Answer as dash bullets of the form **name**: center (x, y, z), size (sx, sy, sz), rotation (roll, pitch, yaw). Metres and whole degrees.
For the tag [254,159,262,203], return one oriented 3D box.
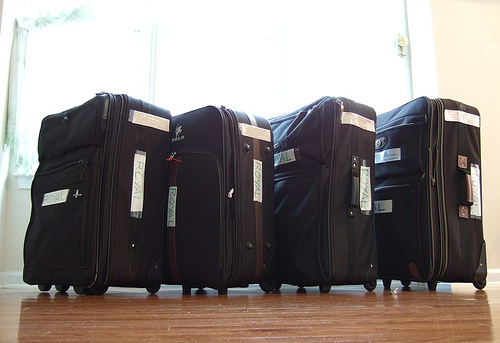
- **tag**: center (0.041, 0.038, 2.145), size (0.014, 0.213, 0.099), rotation (-4, 8, -26)

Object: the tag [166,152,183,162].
- **tag**: center (-0.359, -0.068, 2.163), size (0.052, 0.052, 0.042), rotation (0, 11, 2)

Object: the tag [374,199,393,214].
- **tag**: center (0.700, 0.183, 2.434), size (0.063, 0.080, 0.110), rotation (6, -9, -27)

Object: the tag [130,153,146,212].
- **tag**: center (-0.510, 0.046, 2.099), size (0.029, 0.294, 0.124), rotation (-1, -7, 25)

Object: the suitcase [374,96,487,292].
- **suitcase**: center (0.926, 0.111, 2.389), size (0.577, 0.966, 0.348), rotation (-5, -17, 14)

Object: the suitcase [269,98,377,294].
- **suitcase**: center (0.347, 0.131, 2.176), size (0.335, 0.803, 0.775), rotation (4, -12, -25)

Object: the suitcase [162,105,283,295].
- **suitcase**: center (-0.135, 0.144, 2.153), size (0.550, 0.844, 0.356), rotation (-2, -16, 2)

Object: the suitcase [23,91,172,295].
- **suitcase**: center (-0.726, 0.119, 2.140), size (0.700, 0.874, 0.358), rotation (-7, -17, 17)

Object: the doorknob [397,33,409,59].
- **doorknob**: center (1.075, -0.903, 3.308), size (0.124, 0.131, 0.123), rotation (1, -1, 20)
